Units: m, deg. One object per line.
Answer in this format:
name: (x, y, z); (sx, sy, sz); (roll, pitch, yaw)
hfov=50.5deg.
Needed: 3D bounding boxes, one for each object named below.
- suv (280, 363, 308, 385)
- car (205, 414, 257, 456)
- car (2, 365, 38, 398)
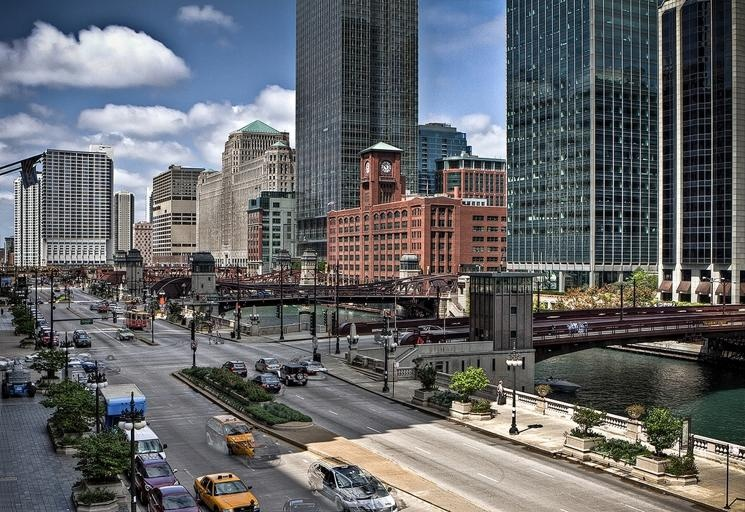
suv: (-8.461, 12.537, 84.613); (1.743, 1.310, 2.868); (3, 3, -19)
car: (-11.688, 14.066, 64.815); (2.634, 1.889, 5.615); (3, 16, -38)
car: (-35.087, 12.658, 77.845); (2.682, 1.939, 3.590); (4, 1, -34)
